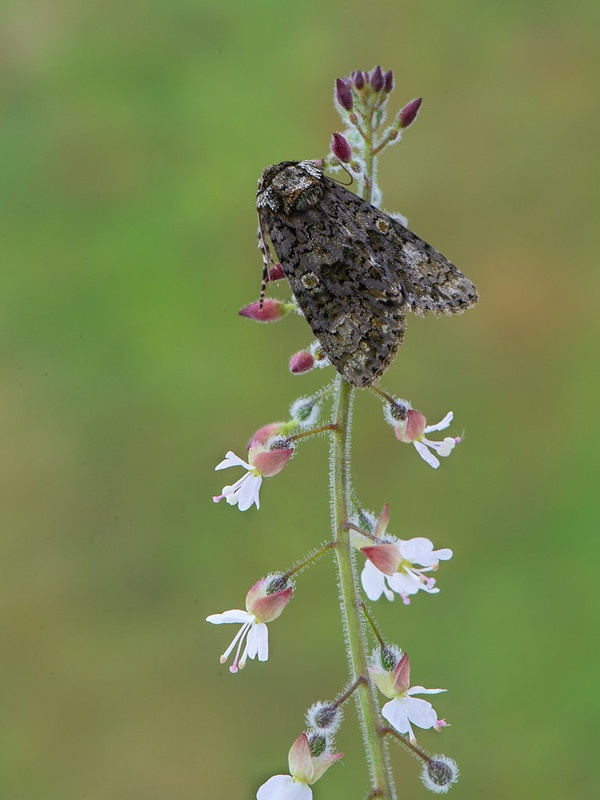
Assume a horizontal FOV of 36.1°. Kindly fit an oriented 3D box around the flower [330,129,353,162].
[{"bbox_3d":[0.156,-0.954,3.475,0.075,0.111,0.132,-2,0,2],"label":"flower"}]

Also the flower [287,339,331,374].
[{"bbox_3d":[0.030,-0.167,3.560,0.146,0.121,0.139,-1,0,-25],"label":"flower"}]

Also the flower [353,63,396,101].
[{"bbox_3d":[0.280,-1.228,3.546,0.162,0.115,0.125,1,0,0],"label":"flower"}]

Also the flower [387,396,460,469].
[{"bbox_3d":[0.425,0.108,3.230,0.085,0.273,0.182,-43,21,28],"label":"flower"}]

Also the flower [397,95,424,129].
[{"bbox_3d":[0.430,-1.134,3.654,0.087,0.136,0.266,-2,0,6],"label":"flower"}]

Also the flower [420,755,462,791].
[{"bbox_3d":[0.491,1.324,3.272,0.123,0.133,0.175,-1,0,6],"label":"flower"}]

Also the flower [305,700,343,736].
[{"bbox_3d":[0.077,1.103,3.199,0.114,0.120,0.103,-1,0,-23],"label":"flower"}]

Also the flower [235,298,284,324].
[{"bbox_3d":[-0.136,-0.347,3.748,0.257,0.071,0.130,1,42,7],"label":"flower"}]

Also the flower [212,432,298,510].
[{"bbox_3d":[-0.165,0.275,3.406,0.287,0.278,0.288,-1,0,-1],"label":"flower"}]

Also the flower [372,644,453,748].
[{"bbox_3d":[0.377,1.067,3.287,0.255,0.334,0.283,-2,0,0],"label":"flower"}]
